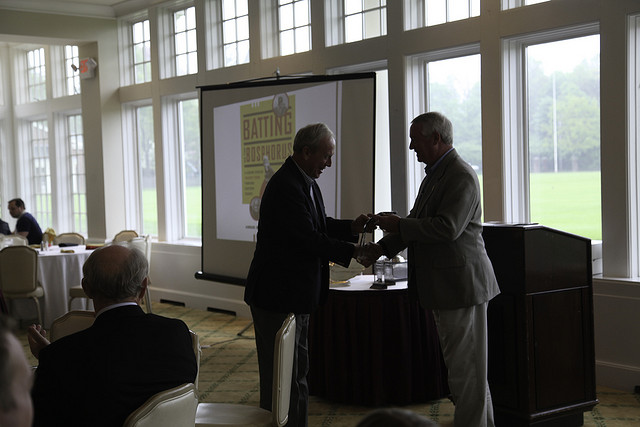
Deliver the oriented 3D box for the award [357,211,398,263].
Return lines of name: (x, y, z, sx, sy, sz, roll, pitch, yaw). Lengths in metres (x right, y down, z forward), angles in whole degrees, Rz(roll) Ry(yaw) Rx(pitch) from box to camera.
award: (0.428, 0.254, 4.818, 0.366, 0.376, 0.116, 0, -32, -5)

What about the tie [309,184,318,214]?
tie: (-0.067, -0.105, 4.546, 0.023, 0.243, 0.062, -15, -30, 4)

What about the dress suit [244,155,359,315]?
dress suit: (-0.171, 0.069, 4.656, 0.694, 1.327, 0.890, 5, 7, -4)

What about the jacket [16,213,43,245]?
jacket: (-4.349, 0.281, 8.769, 0.294, 0.581, 0.517, -7, 3, -20)

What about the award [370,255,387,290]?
award: (0.552, 0.557, 5.401, 0.221, 0.319, 0.272, 1, -4, -12)

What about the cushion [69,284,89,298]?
cushion: (-3.009, 0.982, 7.198, 0.311, 0.128, 0.090, 0, 3, 38)

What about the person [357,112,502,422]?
person: (1.004, 0.433, 4.522, 0.670, 2.417, 0.398, 0, 2, 25)
